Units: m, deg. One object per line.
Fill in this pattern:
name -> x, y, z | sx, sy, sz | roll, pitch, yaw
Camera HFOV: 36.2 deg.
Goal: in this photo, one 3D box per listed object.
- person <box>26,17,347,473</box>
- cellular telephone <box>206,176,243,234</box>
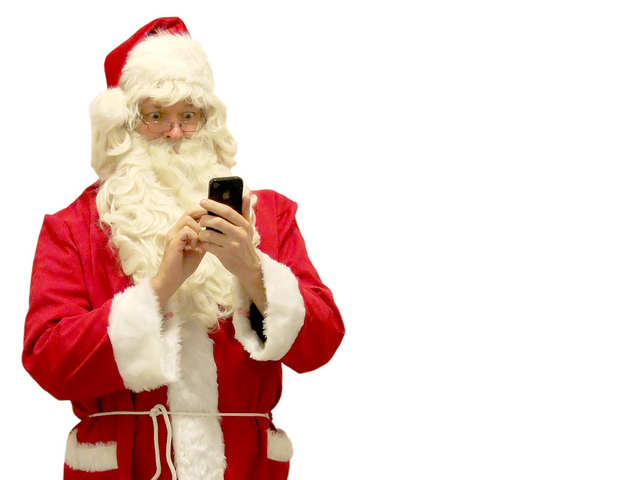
person -> -0.682, -0.009, 4.957 | 1.403, 2.193, 1.130 | 7, -36, -14
cellular telephone -> -0.435, -0.208, 4.577 | 0.158, 0.103, 0.174 | 1, -34, -5
